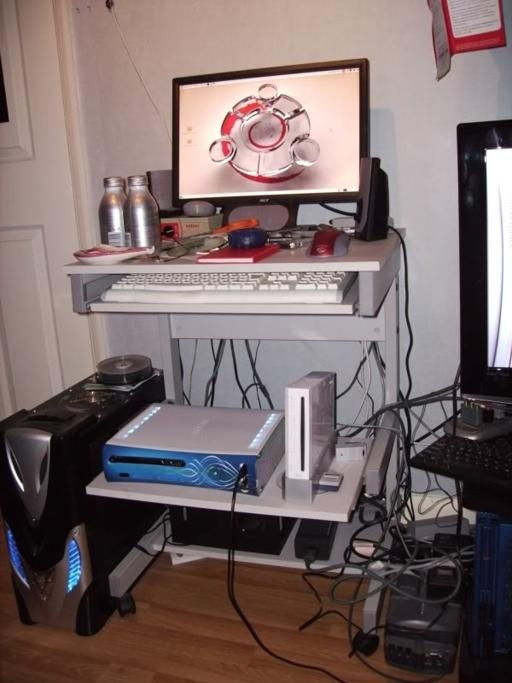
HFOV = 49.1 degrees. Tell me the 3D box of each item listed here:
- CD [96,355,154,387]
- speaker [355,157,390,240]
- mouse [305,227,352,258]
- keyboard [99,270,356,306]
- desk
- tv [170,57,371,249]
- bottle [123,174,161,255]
[{"bbox_3d":[-0.366,0.062,1.580,0.096,0.026,0.099,-1,17,-2],"label":"CD"},{"bbox_3d":[0.253,-0.321,1.267,0.073,0.184,0.098,1,12,24],"label":"speaker"},{"bbox_3d":[0.147,-0.201,1.141,0.076,0.040,0.131,-1,26,10],"label":"mouse"},{"bbox_3d":[-0.067,-0.116,1.182,0.518,0.055,0.212,0,12,18],"label":"keyboard"},{"bbox_3d":[0.000,0.106,1.417,0.728,0.823,0.542,5,18,15],"label":"desk"},{"bbox_3d":[0.045,-0.495,1.470,0.571,0.435,0.171,1,7,16],"label":"tv"},{"bbox_3d":[-0.275,-0.310,1.392,0.085,0.193,0.075,12,22,20],"label":"bottle"}]
